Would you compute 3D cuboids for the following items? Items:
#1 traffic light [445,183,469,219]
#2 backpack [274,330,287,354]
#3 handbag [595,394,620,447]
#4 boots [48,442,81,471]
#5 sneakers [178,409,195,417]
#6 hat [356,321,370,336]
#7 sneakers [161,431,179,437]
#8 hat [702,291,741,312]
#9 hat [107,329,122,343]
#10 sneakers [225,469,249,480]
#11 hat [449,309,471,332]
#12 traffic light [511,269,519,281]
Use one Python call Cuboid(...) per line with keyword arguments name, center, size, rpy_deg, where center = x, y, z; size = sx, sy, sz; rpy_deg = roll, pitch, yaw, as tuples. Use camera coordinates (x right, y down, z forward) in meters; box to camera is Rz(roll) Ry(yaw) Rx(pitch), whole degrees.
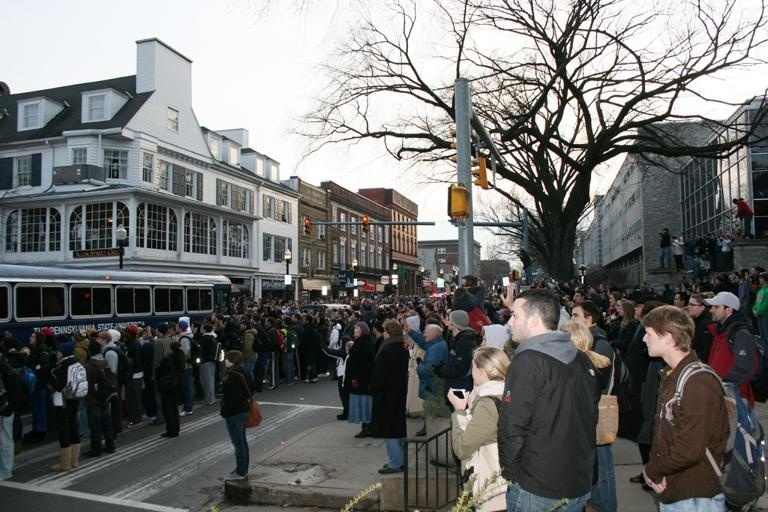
Cuboid(name="traffic light", center=(1.709, -1.282, 17.168), size=(0.472, 0.797, 0.869), rpy_deg=(-5, -7, 6))
Cuboid(name="backpack", center=(-3.412, 2.790, 24.306), size=(0.213, 0.626, 0.429), rpy_deg=(5, 6, -4))
Cuboid(name="handbag", center=(3.753, 2.782, 12.598), size=(0.542, 0.852, 0.316), rpy_deg=(1, -8, -39))
Cuboid(name="boots", center=(-7.200, 4.563, 16.896), size=(0.574, 0.605, 0.435), rpy_deg=(7, 3, 15))
Cuboid(name="sneakers", center=(-5.606, 4.434, 20.876), size=(0.308, 0.118, 0.171), rpy_deg=(9, -8, -11))
Cuboid(name="hat", center=(-0.616, 1.773, 18.341), size=(0.250, 0.282, 0.311), rpy_deg=(4, 8, -37))
Cuboid(name="sneakers", center=(-5.420, 4.537, 18.732), size=(0.441, 0.201, 0.153), rpy_deg=(5, -6, 10))
Cuboid(name="hat", center=(6.502, 0.863, 14.238), size=(0.554, 0.325, 0.373), rpy_deg=(3, -6, 17))
Cuboid(name="hat", center=(-7.060, 2.093, 19.359), size=(0.257, 0.307, 0.329), rpy_deg=(23, 12, -47))
Cuboid(name="sneakers", center=(-3.121, 4.616, 15.589), size=(0.424, 0.192, 0.188), rpy_deg=(6, -11, 2))
Cuboid(name="hat", center=(1.588, 1.376, 15.844), size=(0.314, 0.377, 0.443), rpy_deg=(7, 4, 29))
Cuboid(name="traffic light", center=(3.605, 0.516, 20.596), size=(0.169, 0.201, 0.322), rpy_deg=(-4, -8, 12))
